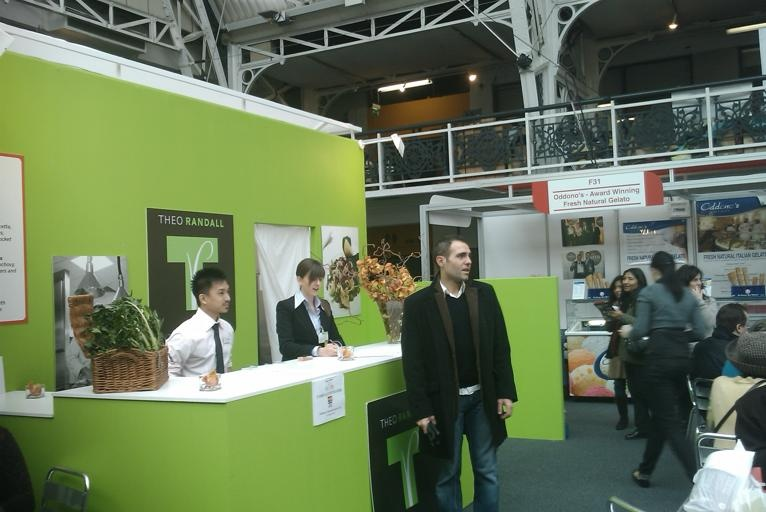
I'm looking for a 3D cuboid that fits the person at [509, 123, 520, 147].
[{"bbox_3d":[2.418,-2.262,12.963,0.245,0.343,0.840,-3,1,10],"label":"person"}]

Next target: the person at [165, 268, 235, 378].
[{"bbox_3d":[-1.610,0.587,6.134,0.647,0.979,0.454,-3,1,-29],"label":"person"}]

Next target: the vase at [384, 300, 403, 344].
[{"bbox_3d":[0.105,0.642,6.893,0.168,0.403,0.180,-3,1,-1],"label":"vase"}]

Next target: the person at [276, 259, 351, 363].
[{"bbox_3d":[-0.679,0.514,6.879,0.664,0.996,0.902,-3,1,-21],"label":"person"}]

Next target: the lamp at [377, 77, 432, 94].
[{"bbox_3d":[0.545,-4.415,18.186,1.610,0.165,0.704,-3,1,26],"label":"lamp"}]

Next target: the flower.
[{"bbox_3d":[0.106,0.158,9.719,0.792,0.891,0.803,-13,8,21],"label":"flower"}]
